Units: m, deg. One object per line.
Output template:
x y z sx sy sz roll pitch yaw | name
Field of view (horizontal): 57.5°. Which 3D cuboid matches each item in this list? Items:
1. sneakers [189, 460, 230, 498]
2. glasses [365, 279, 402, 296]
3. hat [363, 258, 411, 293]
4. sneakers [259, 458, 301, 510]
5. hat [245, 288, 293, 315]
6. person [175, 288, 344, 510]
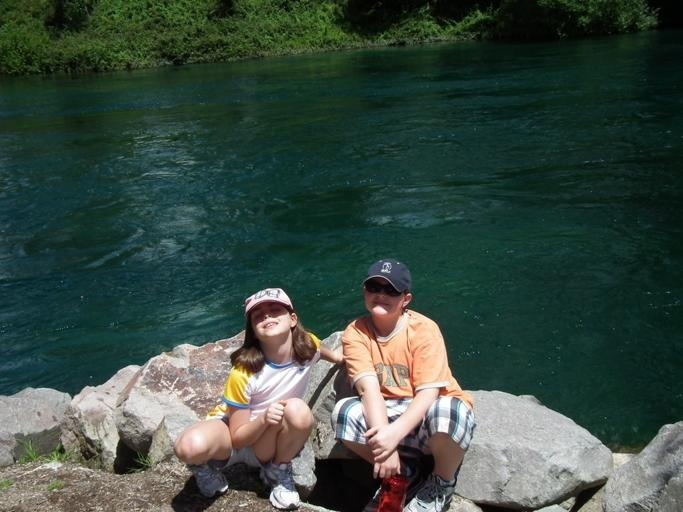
-1.120 1.888 5.395 0.280 0.294 0.229 -16 24 -28 | sneakers
0.352 0.287 5.522 0.243 0.163 0.383 -2 -6 11 | glasses
0.410 0.158 5.658 0.438 0.270 0.523 13 -1 -4 | hat
-0.528 1.970 5.435 0.215 0.209 0.438 -6 44 -41 | sneakers
-0.668 0.419 5.848 0.277 0.189 0.437 -17 -17 -2 | hat
-0.775 1.208 5.423 1.066 1.685 1.001 0 22 11 | person
